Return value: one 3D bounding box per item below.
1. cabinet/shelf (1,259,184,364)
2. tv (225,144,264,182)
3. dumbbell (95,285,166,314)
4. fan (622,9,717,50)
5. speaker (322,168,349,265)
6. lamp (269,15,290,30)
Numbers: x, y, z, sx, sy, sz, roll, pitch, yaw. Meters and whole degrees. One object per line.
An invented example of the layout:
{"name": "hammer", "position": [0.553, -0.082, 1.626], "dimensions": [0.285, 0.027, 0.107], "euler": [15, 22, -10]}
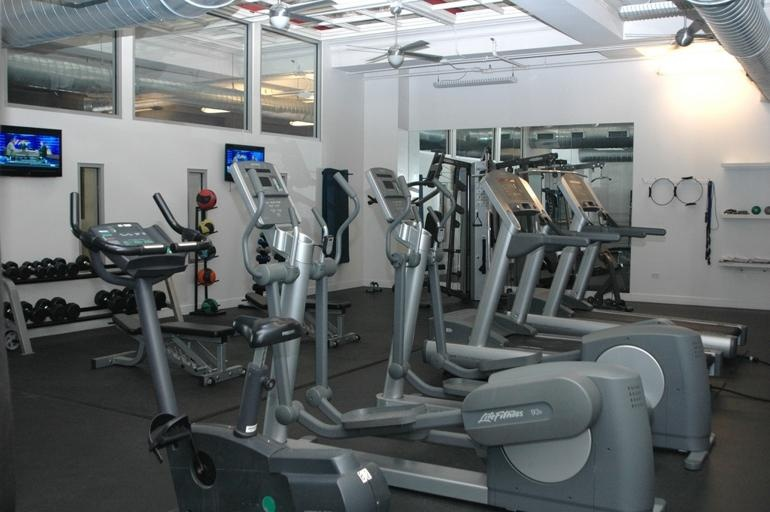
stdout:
{"name": "cabinet/shelf", "position": [-3.718, 0.578, 6.935], "dimensions": [0.942, 0.952, 2.633], "euler": [7, 7, 34]}
{"name": "tv", "position": [-2.164, -1.443, 9.167], "dimensions": [0.280, 0.572, 0.681], "euler": [4, 10, 27]}
{"name": "dumbbell", "position": [-2.610, 0.441, 6.015], "dimensions": [0.548, 0.160, 0.293], "euler": [-3, 6, -39]}
{"name": "fan", "position": [3.230, -2.695, 6.763], "dimensions": [0.987, 0.278, 0.901], "euler": [11, -2, 24]}
{"name": "speaker", "position": [-0.846, -0.885, 10.628], "dimensions": [0.500, 2.273, 0.448], "euler": [6, 6, 31]}
{"name": "lamp", "position": [-1.099, -2.431, 6.205], "dimensions": [0.181, 0.096, 0.205], "euler": [-3, 9, -15]}
